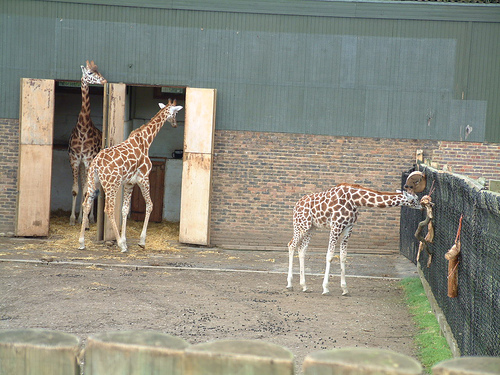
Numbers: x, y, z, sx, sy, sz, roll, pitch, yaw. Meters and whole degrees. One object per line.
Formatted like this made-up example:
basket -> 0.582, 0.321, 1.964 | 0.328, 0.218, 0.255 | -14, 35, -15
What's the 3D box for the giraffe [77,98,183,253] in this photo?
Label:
giraffe -> -2.787, -0.321, 22.659 | 0.975, 3.311, 2.286 | 10, 12, 39
